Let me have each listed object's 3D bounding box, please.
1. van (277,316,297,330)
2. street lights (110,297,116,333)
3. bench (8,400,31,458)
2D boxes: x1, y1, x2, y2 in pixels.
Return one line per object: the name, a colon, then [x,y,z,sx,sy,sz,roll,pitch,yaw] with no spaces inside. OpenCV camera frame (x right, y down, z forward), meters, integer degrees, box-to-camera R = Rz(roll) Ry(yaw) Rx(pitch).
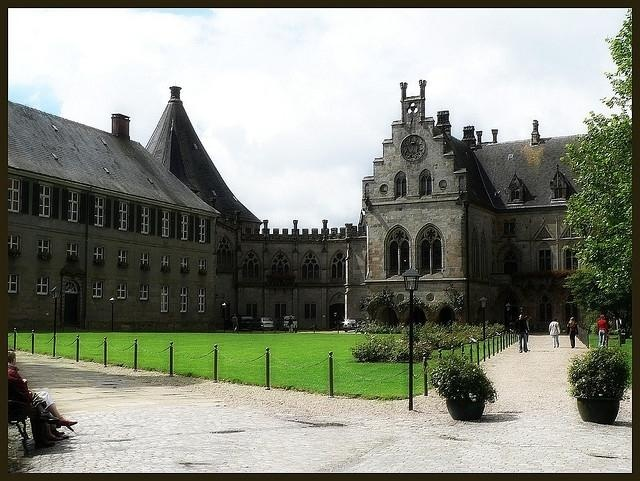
van: [-2.887,7.963,72.315,1.347,0.932,2.028,0,-9,-3]
street lights: [-14.396,5.107,52.772,0.373,2.352,0.920,0,-9,-14]
bench: [-6.534,4.003,16.496,0.419,1.135,1.848,1,-9,-20]
